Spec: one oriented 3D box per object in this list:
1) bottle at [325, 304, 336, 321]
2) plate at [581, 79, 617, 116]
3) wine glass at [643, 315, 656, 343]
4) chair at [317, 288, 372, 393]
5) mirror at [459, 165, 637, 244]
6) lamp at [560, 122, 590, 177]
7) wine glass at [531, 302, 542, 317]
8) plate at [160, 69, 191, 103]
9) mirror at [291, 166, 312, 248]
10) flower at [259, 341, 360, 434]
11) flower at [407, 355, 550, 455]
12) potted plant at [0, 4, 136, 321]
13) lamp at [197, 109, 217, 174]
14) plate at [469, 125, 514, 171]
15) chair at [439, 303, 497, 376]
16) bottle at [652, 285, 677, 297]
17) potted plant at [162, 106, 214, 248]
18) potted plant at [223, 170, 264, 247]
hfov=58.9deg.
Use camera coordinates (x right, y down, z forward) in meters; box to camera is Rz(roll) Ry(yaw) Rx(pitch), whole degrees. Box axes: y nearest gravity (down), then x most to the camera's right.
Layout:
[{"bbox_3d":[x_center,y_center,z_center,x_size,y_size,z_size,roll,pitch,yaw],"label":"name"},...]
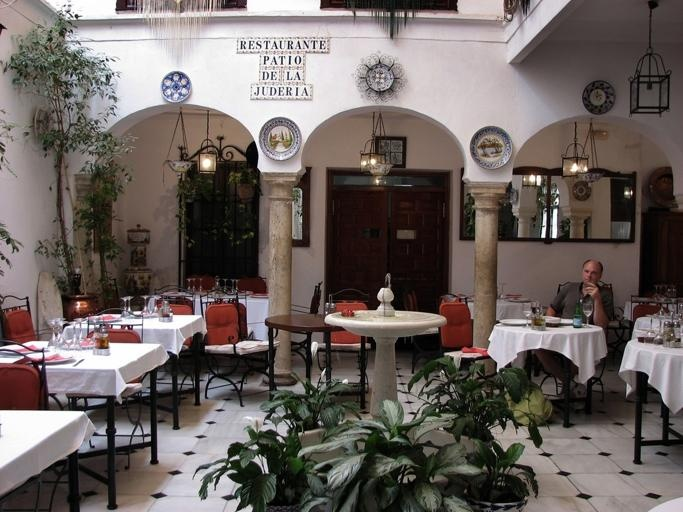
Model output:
[{"bbox_3d":[-0.123,0.647,7.306,0.114,0.216,0.120,2,4,0],"label":"bottle"},{"bbox_3d":[3.518,-2.170,8.266,0.452,0.456,0.075,-1,3,-8],"label":"plate"},{"bbox_3d":[3.600,0.848,7.075,0.114,0.307,0.395,1,5,15],"label":"wine glass"},{"bbox_3d":[0.040,1.175,8.143,0.808,1.056,1.294,-9,1,4],"label":"chair"},{"bbox_3d":[4.293,-0.976,11.362,2.590,1.453,0.169,-1,3,-2],"label":"mirror"},{"bbox_3d":[4.209,-1.844,10.886,0.445,1.194,0.514,8,-16,2],"label":"lamp"},{"bbox_3d":[2.492,0.678,7.745,0.136,0.164,0.276,5,5,5],"label":"wine glass"},{"bbox_3d":[-2.265,-2.314,8.378,0.374,0.441,0.100,10,1,3],"label":"plate"},{"bbox_3d":[-0.752,-0.863,11.327,0.087,1.299,0.599,4,-4,-18],"label":"mirror"},{"bbox_3d":[-0.281,1.163,5.011,0.719,0.395,0.924,-23,-13,5],"label":"flower"},{"bbox_3d":[1.085,1.291,4.834,0.808,0.401,0.843,-22,-36,32],"label":"flower"},{"bbox_3d":[-3.746,-1.513,8.224,1.352,3.861,0.952,-2,3,-28],"label":"potted plant"},{"bbox_3d":[-2.334,-2.049,10.641,0.277,1.240,1.491,-1,3,-11],"label":"lamp"},{"bbox_3d":[2.106,-1.456,8.401,0.743,0.092,0.821,-21,33,11],"label":"plate"},{"bbox_3d":[1.581,1.147,7.634,0.522,1.113,0.691,-2,-1,-25],"label":"chair"},{"bbox_3d":[5.420,0.577,10.156,0.183,0.205,0.200,0,2,12],"label":"bottle"},{"bbox_3d":[-2.479,-1.466,10.107,0.797,2.161,0.413,8,-9,-36],"label":"potted plant"},{"bbox_3d":[-1.819,-0.943,11.144,0.668,1.459,0.494,-1,3,-3],"label":"potted plant"}]
